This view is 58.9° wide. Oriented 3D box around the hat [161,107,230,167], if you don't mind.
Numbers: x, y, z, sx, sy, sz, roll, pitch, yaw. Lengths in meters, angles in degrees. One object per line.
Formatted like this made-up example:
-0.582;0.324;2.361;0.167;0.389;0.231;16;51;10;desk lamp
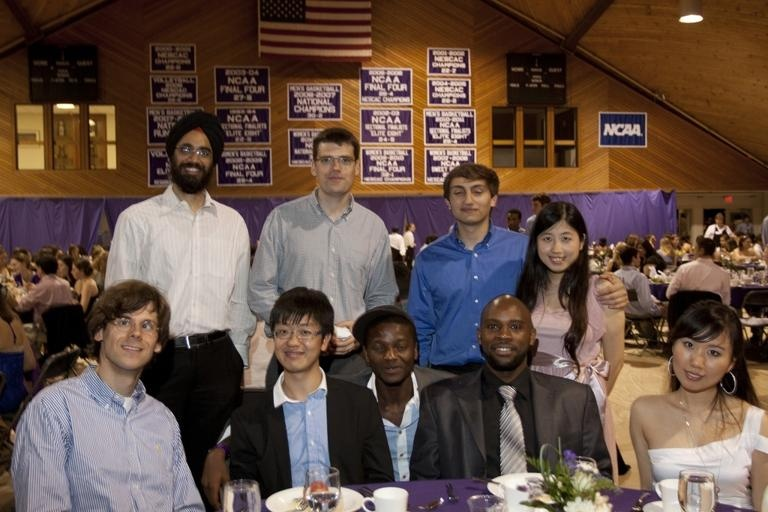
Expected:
-1.669;-1.017;6.094;0.412;0.525;0.251;16;5;-16;hat
